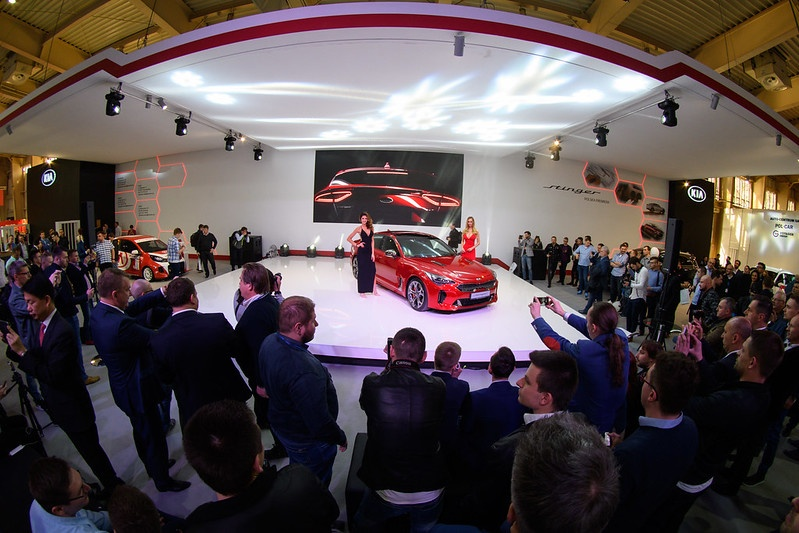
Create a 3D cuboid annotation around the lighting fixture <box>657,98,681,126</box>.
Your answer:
[{"bbox_3d":[4.954,-2.816,7.986,0.294,0.505,0.645,6,7,34],"label":"lighting fixture"}]

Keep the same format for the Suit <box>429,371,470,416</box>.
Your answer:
[{"bbox_3d":[0.544,1.251,4.301,0.392,0.407,0.154,-1,0,-7],"label":"Suit"}]

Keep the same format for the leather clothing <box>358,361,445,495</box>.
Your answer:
[{"bbox_3d":[0.041,1.508,4.004,0.813,1.222,0.235,2,5,-4],"label":"leather clothing"}]

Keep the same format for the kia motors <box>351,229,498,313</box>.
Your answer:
[{"bbox_3d":[0.393,-0.010,9.588,1.426,1.170,3.397,-3,12,-33],"label":"kia motors"}]

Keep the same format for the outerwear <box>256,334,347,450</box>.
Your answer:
[{"bbox_3d":[-1.058,1.383,4.556,0.481,0.654,1.511,-21,-29,-19],"label":"outerwear"}]

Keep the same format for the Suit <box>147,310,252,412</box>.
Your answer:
[{"bbox_3d":[-2.114,1.030,4.600,0.550,1.305,0.432,-33,40,-1],"label":"Suit"}]

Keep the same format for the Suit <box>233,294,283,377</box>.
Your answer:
[{"bbox_3d":[-1.543,0.786,4.755,0.453,0.752,0.853,-3,11,-7],"label":"Suit"}]

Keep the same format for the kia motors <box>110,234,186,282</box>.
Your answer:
[{"bbox_3d":[-6.229,-0.160,10.762,1.871,0.873,1.091,5,9,23],"label":"kia motors"}]

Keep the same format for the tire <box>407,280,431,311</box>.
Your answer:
[{"bbox_3d":[0.413,0.603,8.686,0.216,0.641,0.624,-4,2,-26],"label":"tire"}]
